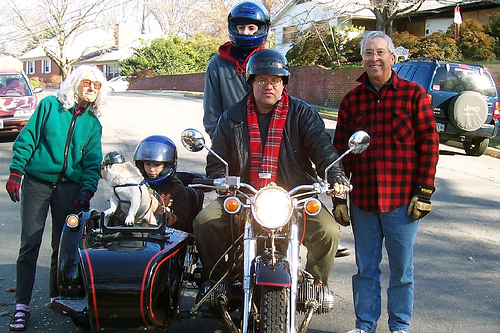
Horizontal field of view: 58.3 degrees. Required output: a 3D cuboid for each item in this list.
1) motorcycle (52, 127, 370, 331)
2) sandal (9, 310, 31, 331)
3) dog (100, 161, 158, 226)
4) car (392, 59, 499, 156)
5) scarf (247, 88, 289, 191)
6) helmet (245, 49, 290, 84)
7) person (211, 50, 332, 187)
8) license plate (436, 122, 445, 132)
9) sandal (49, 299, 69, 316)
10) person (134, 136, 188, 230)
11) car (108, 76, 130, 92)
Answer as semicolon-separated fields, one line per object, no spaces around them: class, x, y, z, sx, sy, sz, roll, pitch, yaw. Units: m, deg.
motorcycle;-0.632;0.717;5.135;1.856;1.723;2.790;2;-4;-3
sandal;-2.487;1.652;4.828;0.199;0.182;0.207;-3;7;-23
dog;-1.184;0.284;4.555;0.361;0.606;0.944;-3;-18;20
car;5.792;-1.895;13.861;2.560;2.317;4.443;0;15;-6
scarf;0.191;-0.288;4.664;0.452;1.028;0.643;0;7;2
helmet;0.192;-1.042;4.653;0.286;0.280;0.353;5;45;0
person;0.255;-0.492;4.956;1.504;1.493;0.940;0;4;13
license plate;5.183;-1.076;12.202;0.229;0.256;0.213;0;7;2
sandal;-1.896;1.400;4.414;0.191;0.075;0.138;35;-5;5
person;-1.031;0.301;5.154;0.572;1.241;0.628;8;2;-1
car;-13.277;-8.426;45.220;1.850;1.604;2.325;4;8;34
